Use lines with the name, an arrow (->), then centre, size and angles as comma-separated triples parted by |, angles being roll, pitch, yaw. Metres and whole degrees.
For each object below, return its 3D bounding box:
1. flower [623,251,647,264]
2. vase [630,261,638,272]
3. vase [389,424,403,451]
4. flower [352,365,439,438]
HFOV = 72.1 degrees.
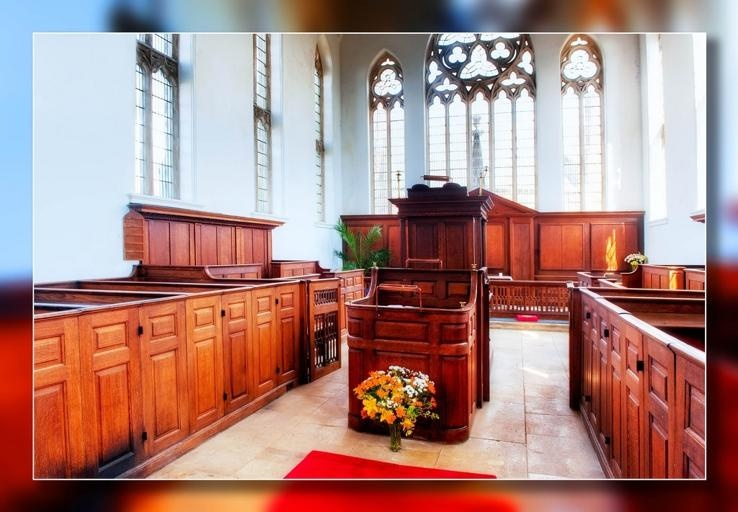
flower -> 6.147, 0.040, 11.774 | 0.312, 0.217, 0.387 | -4, -2, 41
vase -> 5.499, 0.209, 10.590 | 0.077, 0.200, 0.137 | 27, -20, -27
vase -> 0.276, 1.814, 5.118 | 0.131, 0.262, 0.104 | -2, 7, -18
flower -> 0.304, 1.543, 5.289 | 0.779, 0.678, 0.733 | -5, 9, 30
